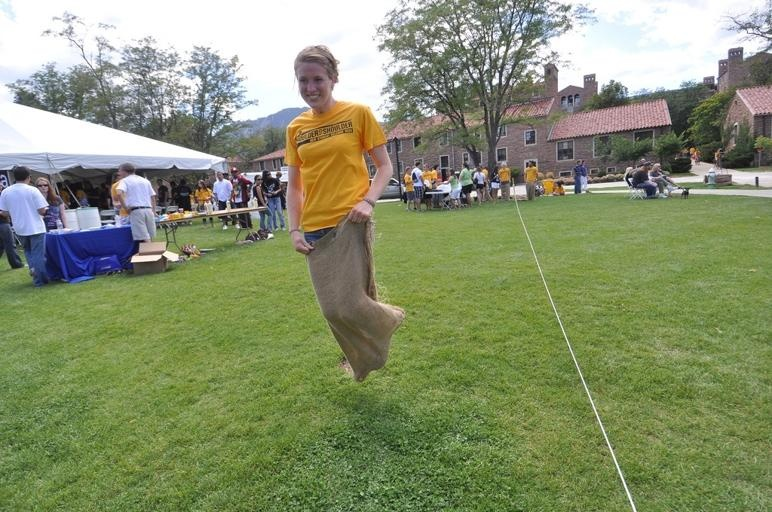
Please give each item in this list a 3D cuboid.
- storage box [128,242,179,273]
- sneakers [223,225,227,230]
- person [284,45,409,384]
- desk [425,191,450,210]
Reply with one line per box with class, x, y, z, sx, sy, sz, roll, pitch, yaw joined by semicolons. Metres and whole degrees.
storage box;-4.465;0.102;9.495;0.794;0.486;0.897;-4;-5;-6
sneakers;-5.563;-0.963;16.441;0.133;0.133;0.346;-1;-2;-18
person;-0.418;-0.281;4.547;1.051;3.264;0.544;-7;11;1
desk;2.112;-2.321;19.665;1.086;0.774;0.676;4;26;11
